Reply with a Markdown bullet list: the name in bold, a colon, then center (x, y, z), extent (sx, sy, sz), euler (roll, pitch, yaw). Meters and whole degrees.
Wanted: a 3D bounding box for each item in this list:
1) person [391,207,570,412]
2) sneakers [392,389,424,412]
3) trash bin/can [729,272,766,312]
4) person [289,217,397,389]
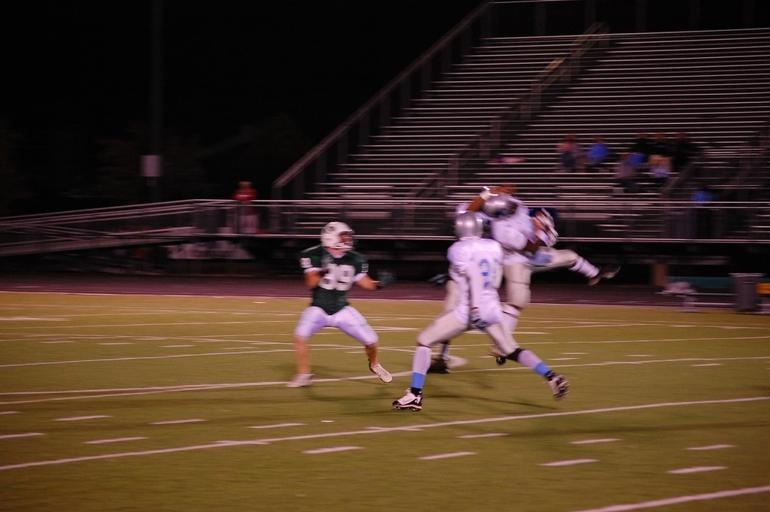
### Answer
- **person**: center (1.040, 0.588, 8.301), extent (1.724, 1.707, 0.765), euler (3, 1, 0)
- **sneakers**: center (0.232, 1.534, 8.107), extent (0.318, 0.175, 0.326), euler (2, 1, 2)
- **trash bin/can**: center (8.326, 0.855, 17.645), extent (0.645, 0.805, 0.435), euler (4, 1, 17)
- **person**: center (-0.517, 0.597, 9.613), extent (1.211, 1.489, 0.964), euler (4, 1, -4)
